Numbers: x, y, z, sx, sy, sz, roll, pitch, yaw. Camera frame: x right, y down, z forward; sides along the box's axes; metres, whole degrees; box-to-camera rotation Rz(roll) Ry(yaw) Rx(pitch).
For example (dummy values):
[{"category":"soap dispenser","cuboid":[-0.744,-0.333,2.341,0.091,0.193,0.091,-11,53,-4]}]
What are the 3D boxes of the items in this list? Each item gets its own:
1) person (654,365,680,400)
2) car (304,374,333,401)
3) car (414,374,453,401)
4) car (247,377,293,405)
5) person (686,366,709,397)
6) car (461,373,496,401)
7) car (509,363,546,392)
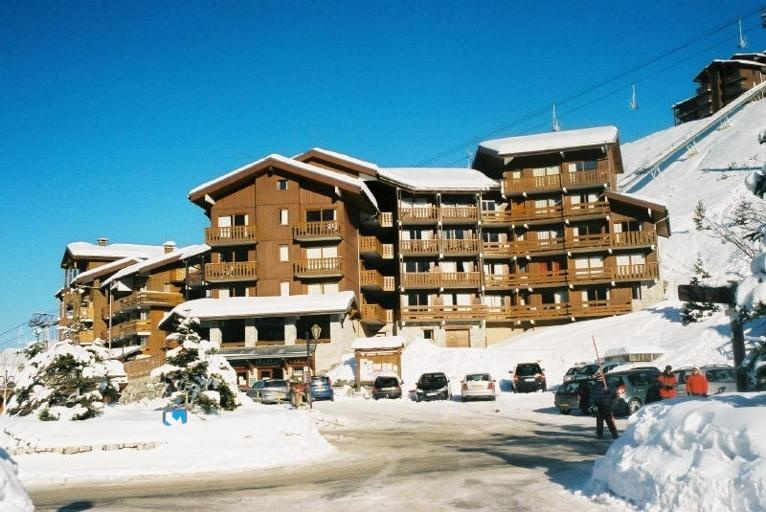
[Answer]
[{"category":"person","cuboid":[13.323,5.858,44.427,0.882,1.535,4.290,-6,-9,16]},{"category":"car","cuboid":[-3.897,8.343,60.032,1.142,1.054,2.037,0,2,-3]},{"category":"car","cuboid":[3.065,7.965,58.067,2.126,1.670,1.235,-2,-8,-10]},{"category":"car","cuboid":[-6.998,8.423,59.175,1.299,0.895,2.754,1,-2,-27]},{"category":"person","cuboid":[14.245,5.641,43.074,0.833,1.230,0.590,-6,-9,18]},{"category":"car","cuboid":[5.651,7.749,56.194,1.918,1.589,0.862,-3,-8,-3]},{"category":"car","cuboid":[9.044,7.489,58.488,1.305,1.183,2.288,-1,3,5]}]
